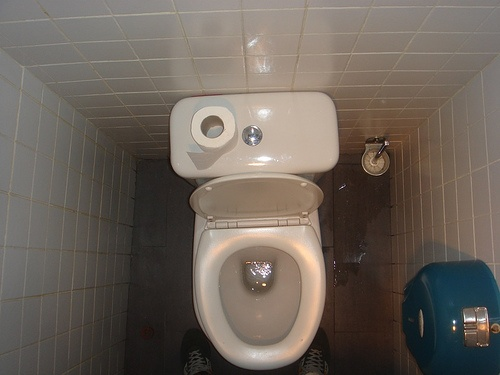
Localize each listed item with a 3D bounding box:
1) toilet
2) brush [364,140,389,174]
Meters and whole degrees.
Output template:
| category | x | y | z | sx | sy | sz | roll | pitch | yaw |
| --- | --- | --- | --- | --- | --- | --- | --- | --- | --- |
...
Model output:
| category | x | y | z | sx | sy | sz | roll | pitch | yaw |
| --- | --- | --- | --- | --- | --- | --- | --- | --- | --- |
| toilet | 0.010 | 0.227 | 1.750 | 0.710 | 1.174 | 0.580 | -1 | -9 | -6 |
| brush | 0.699 | -0.167 | 2.086 | 0.094 | 0.129 | 0.208 | 7 | 20 | 16 |
